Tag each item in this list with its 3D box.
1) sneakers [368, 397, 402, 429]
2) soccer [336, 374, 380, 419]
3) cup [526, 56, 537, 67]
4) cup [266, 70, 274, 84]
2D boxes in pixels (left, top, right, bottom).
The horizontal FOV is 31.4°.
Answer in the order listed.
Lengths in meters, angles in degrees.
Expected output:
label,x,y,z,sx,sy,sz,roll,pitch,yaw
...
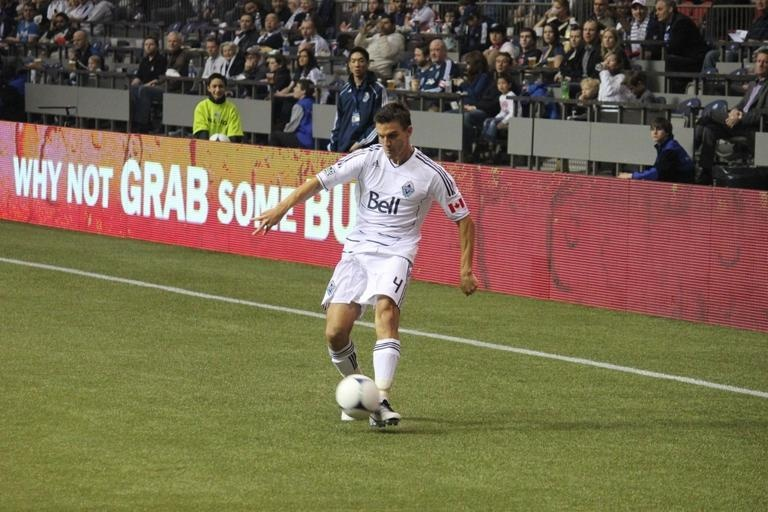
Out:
label,x,y,z,sx,sy,sz,roll,pitch,yaw
sneakers,-0.004,1.655,14.302,0.171,0.258,0.500,5,-13,-25
soccer,-0.266,1.445,14.121,0.431,0.423,0.421,2,-23,-4
cup,2.620,-3.403,23.984,0.177,0.197,0.174,0,2,0
cup,-2.033,-3.266,24.969,0.180,0.231,0.095,9,12,30
